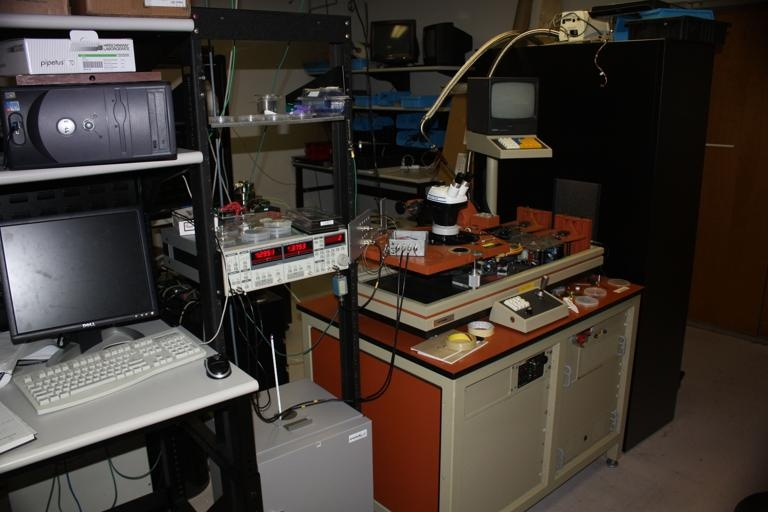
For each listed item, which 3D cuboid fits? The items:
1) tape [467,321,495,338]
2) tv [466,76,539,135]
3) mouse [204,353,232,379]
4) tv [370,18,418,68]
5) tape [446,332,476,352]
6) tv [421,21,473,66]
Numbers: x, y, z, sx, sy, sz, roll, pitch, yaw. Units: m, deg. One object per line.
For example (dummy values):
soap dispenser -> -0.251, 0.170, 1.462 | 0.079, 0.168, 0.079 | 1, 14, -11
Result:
tape -> 0.467, 0.354, 2.849 | 0.129, 0.043, 0.113 | -4, 21, -11
tv -> 0.622, -0.796, 3.118 | 0.311, 0.275, 0.242 | -7, 14, -24
mouse -> -0.654, 0.437, 2.316 | 0.069, 0.030, 0.101 | -5, 25, -24
tv -> 0.137, -2.031, 5.598 | 0.485, 0.400, 0.279 | 11, 20, 30
tape -> 0.355, 0.385, 2.712 | 0.084, 0.030, 0.084 | -22, 31, -39
tv -> 0.584, -1.932, 5.350 | 0.510, 0.327, 0.515 | 11, 20, 25
